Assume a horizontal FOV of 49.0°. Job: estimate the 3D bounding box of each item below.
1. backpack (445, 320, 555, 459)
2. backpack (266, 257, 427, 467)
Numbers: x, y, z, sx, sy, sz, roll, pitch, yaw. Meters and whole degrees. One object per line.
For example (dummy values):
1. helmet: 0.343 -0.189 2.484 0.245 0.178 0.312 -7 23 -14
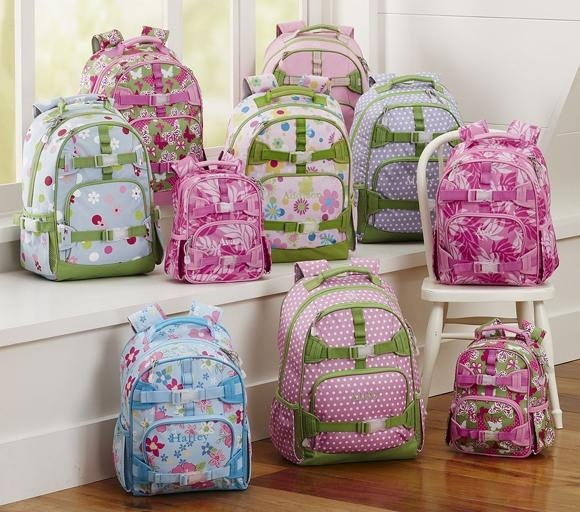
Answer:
1. backpack: 0.507 0.318 1.551 0.254 0.310 0.212 -1 8 9
2. backpack: 0.129 0.252 1.489 0.356 0.465 0.242 0 8 11
